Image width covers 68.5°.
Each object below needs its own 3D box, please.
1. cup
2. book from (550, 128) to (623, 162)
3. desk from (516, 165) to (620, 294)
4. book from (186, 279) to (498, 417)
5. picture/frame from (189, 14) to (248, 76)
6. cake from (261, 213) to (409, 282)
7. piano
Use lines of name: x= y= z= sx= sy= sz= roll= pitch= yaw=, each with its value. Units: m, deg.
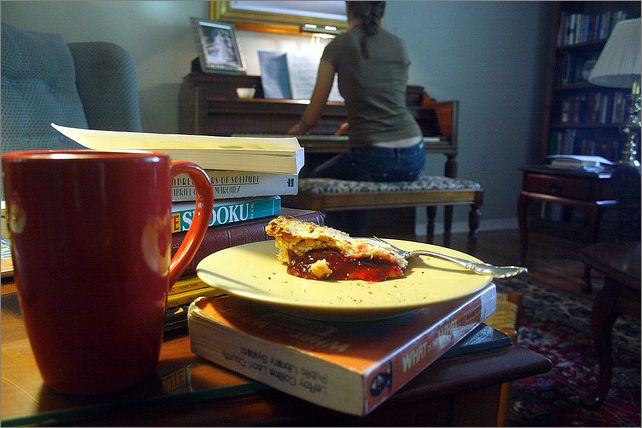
cup: x=-0.245 y=0.063 z=0.503 sx=0.164 sy=0.259 sz=0.066 roll=-2 pitch=14 yaw=-18
book: x=2.043 y=-0.533 z=3.568 sx=0.468 sy=0.393 sz=0.164 roll=4 pitch=5 yaw=35
desk: x=1.450 y=-0.015 z=2.706 sx=0.426 sy=0.563 sz=0.501 roll=-22 pitch=24 yaw=-36
book: x=0.034 y=0.142 z=0.653 sx=0.274 sy=0.062 sz=0.357 roll=9 pitch=13 yaw=24
picture/frame: x=-0.582 y=-0.963 z=2.661 sx=0.024 sy=0.295 sz=0.320 roll=-3 pitch=10 yaw=40
cake: x=0.027 y=0.043 z=0.629 sx=0.130 sy=0.039 sz=0.096 roll=8 pitch=8 yaw=21
piano: x=-0.056 y=-0.372 z=3.016 sx=1.681 sy=0.987 sz=0.821 roll=2 pitch=8 yaw=16
